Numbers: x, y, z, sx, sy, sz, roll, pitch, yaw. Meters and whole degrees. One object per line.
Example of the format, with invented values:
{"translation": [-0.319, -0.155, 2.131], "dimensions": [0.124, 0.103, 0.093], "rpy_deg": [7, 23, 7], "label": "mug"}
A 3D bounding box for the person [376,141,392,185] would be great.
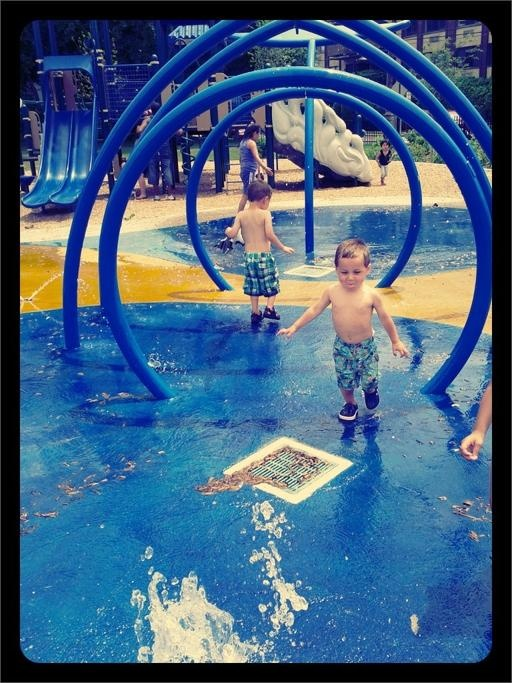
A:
{"translation": [4.006, -5.644, 15.949], "dimensions": [0.423, 1.374, 1.455], "rpy_deg": [2, 15, 12], "label": "person"}

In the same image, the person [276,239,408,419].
{"translation": [0.642, -0.065, 3.389], "dimensions": [0.676, 1.216, 0.362], "rpy_deg": [4, 15, 18], "label": "person"}

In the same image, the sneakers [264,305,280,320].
{"translation": [0.157, -0.289, 5.450], "dimensions": [0.191, 0.145, 0.099], "rpy_deg": [7, 54, -12], "label": "sneakers"}

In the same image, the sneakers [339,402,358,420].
{"translation": [0.639, 0.482, 3.483], "dimensions": [0.087, 0.099, 0.232], "rpy_deg": [-1, -7, 16], "label": "sneakers"}
